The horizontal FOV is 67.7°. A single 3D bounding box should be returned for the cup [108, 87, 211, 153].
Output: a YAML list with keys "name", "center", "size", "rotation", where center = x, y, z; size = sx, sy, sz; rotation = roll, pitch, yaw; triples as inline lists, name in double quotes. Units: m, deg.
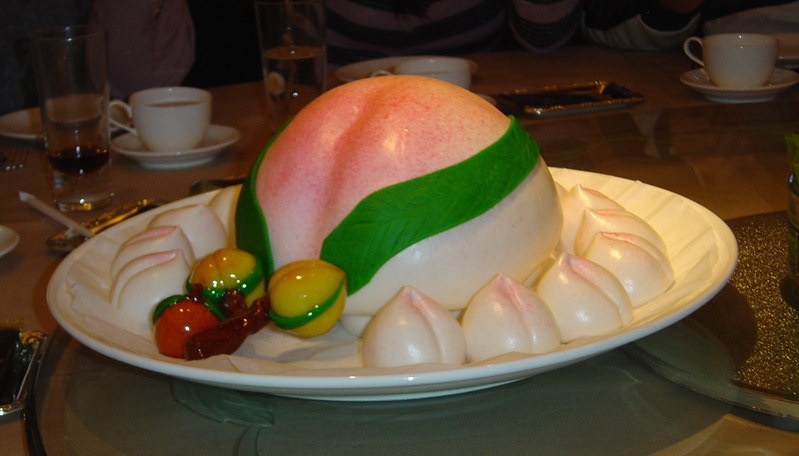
- name: "cup"
  center: [-0.484, -0.230, 1.246]
  size: [0.226, 0.108, 0.159]
  rotation: [2, 30, -11]

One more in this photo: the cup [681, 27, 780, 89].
- name: "cup"
  center: [0.795, -0.399, 1.420]
  size: [0.165, 0.110, 0.221]
  rotation: [-29, 33, -32]
